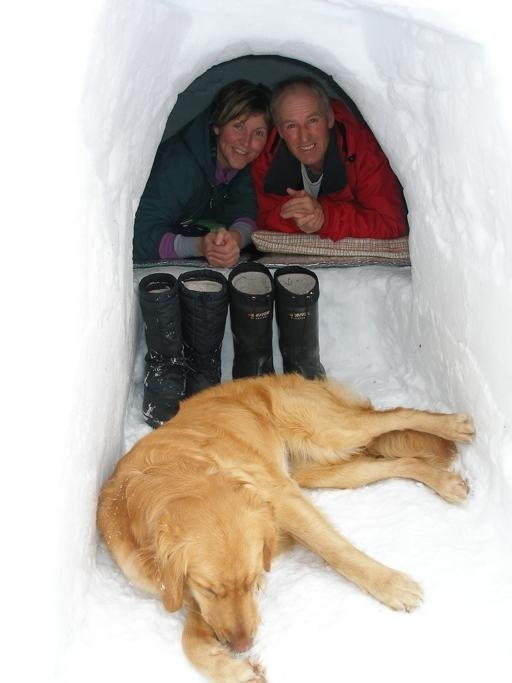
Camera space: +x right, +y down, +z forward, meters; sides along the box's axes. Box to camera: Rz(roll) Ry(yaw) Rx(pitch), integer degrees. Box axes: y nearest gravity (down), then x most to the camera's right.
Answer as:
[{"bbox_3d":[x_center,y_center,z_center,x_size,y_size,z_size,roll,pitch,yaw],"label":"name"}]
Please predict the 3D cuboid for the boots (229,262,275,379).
[{"bbox_3d":[-0.016,-0.076,2.400,0.164,0.428,0.210,-1,2,-2],"label":"boots"}]

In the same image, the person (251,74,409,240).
[{"bbox_3d":[0.284,-0.740,2.927,0.633,0.761,0.780,-1,26,5],"label":"person"}]

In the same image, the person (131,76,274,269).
[{"bbox_3d":[-0.217,-0.730,2.884,0.425,0.798,0.627,1,3,37],"label":"person"}]

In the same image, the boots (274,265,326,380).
[{"bbox_3d":[0.157,-0.078,2.421,0.177,0.408,0.252,-1,2,2],"label":"boots"}]

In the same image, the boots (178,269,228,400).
[{"bbox_3d":[-0.193,-0.027,2.332,0.177,0.397,0.502,-5,-31,-4],"label":"boots"}]

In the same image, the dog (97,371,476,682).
[{"bbox_3d":[0.090,0.386,1.675,0.730,0.545,0.826,1,3,35],"label":"dog"}]
